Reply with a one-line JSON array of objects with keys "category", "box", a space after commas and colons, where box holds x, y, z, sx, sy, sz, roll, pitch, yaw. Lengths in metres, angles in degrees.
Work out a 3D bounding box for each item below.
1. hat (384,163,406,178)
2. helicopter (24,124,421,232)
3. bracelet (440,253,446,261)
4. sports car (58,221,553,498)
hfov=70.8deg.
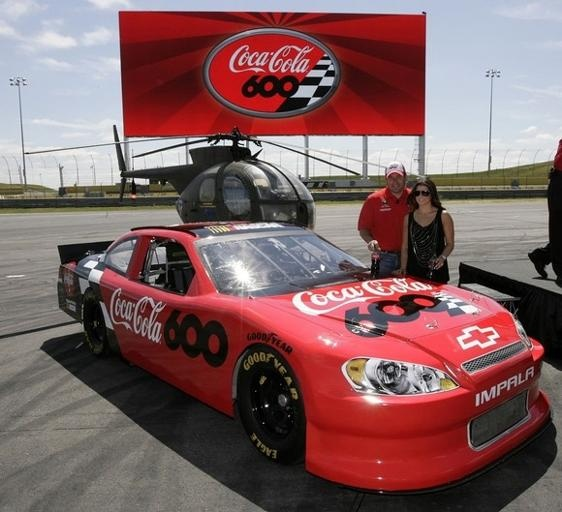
[{"category": "hat", "box": [1.233, -0.927, 4.270, 0.196, 0.141, 0.133, -1, 10, 8]}, {"category": "helicopter", "box": [-1.673, -1.514, 8.541, 6.145, 2.213, 5.167, 8, 15, 33]}, {"category": "bracelet", "box": [1.624, 0.005, 3.973, 0.061, 0.055, 0.040, -21, 47, -8]}, {"category": "sports car", "box": [-0.531, 0.363, 3.889, 1.949, 1.391, 5.062, -10, 12, -41]}]
